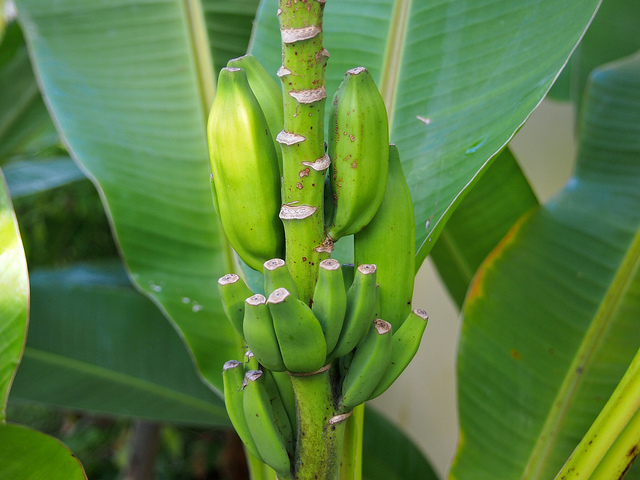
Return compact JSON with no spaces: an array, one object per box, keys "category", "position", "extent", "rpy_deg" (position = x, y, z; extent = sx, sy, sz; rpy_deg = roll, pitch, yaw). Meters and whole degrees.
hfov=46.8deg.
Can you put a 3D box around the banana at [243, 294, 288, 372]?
[{"category":"banana","position":[-0.079,0.127,1.056],"extent":[0.047,0.104,0.029],"rpy_deg":[-22,20,-3]}]

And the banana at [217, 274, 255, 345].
[{"category":"banana","position":[-0.131,0.104,1.113],"extent":[0.051,0.168,0.052],"rpy_deg":[3,54,7]}]

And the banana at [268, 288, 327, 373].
[{"category":"banana","position":[-0.038,0.125,1.039],"extent":[0.072,0.155,0.049],"rpy_deg":[2,39,15]}]

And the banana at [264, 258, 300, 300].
[{"category":"banana","position":[-0.054,0.063,1.029],"extent":[0.048,0.074,0.056],"rpy_deg":[-3,25,-2]}]

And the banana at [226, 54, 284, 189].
[{"category":"banana","position":[-0.074,-0.165,1.117],"extent":[0.062,0.221,0.069],"rpy_deg":[-18,3,4]}]

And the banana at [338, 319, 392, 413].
[{"category":"banana","position":[0.067,0.182,1.064],"extent":[0.045,0.165,0.057],"rpy_deg":[6,32,-27]}]

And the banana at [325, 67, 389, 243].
[{"category":"banana","position":[0.052,-0.120,1.055],"extent":[0.093,0.231,0.081],"rpy_deg":[0,24,3]}]

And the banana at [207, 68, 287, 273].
[{"category":"banana","position":[-0.107,-0.095,1.058],"extent":[0.103,0.284,0.075],"rpy_deg":[-2,24,-2]}]
